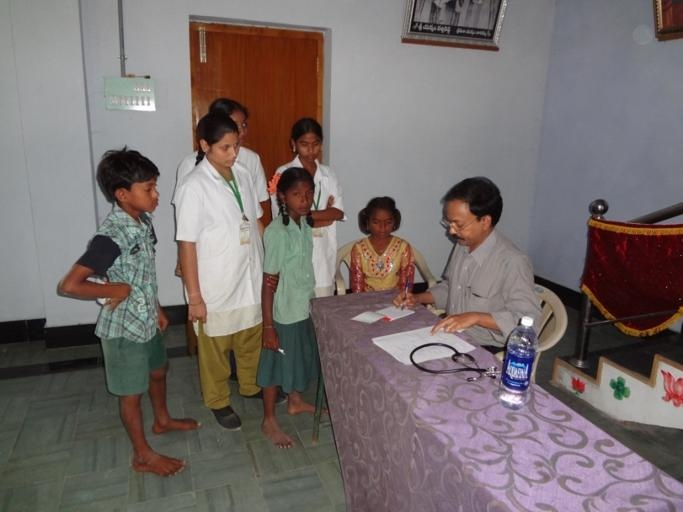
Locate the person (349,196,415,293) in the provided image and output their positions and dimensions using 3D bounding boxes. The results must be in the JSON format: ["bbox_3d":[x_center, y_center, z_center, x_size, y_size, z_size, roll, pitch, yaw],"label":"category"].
[{"bbox_3d":[0.292,-0.007,3.429,0.427,0.820,0.460,-2,17,1],"label":"person"}]

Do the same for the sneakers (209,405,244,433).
[{"bbox_3d":[-0.778,1.052,3.193,0.092,0.117,0.270,-15,28,-39],"label":"sneakers"}]

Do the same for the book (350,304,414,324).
[{"bbox_3d":[0.236,0.326,2.611,0.179,0.023,0.133,-21,19,-25],"label":"book"}]

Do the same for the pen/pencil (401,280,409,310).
[{"bbox_3d":[0.385,0.239,2.855,0.018,0.017,0.163,-32,25,55],"label":"pen/pencil"}]

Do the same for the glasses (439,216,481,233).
[{"bbox_3d":[0.676,-0.180,2.669,0.213,0.069,0.216,-9,21,-8],"label":"glasses"}]

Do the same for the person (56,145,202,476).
[{"bbox_3d":[-1.182,0.347,2.688,0.564,1.840,0.488,-6,17,-18],"label":"person"}]
